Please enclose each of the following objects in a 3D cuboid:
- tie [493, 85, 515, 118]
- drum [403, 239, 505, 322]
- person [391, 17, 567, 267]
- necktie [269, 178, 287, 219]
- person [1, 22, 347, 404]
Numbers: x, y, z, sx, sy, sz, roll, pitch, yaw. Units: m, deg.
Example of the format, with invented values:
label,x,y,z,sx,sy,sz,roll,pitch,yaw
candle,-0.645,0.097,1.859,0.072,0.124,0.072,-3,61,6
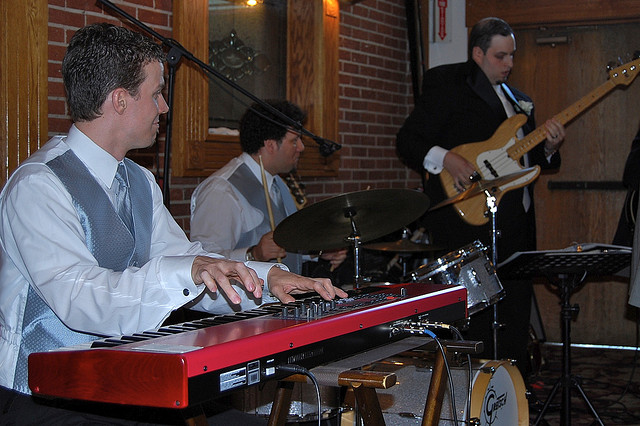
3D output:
label,x,y,z,sx,sy,sz,roll,pitch,yaw
tie,1.187,-0.730,4.015,0.046,0.207,0.138,-19,15,-26
drum,0.738,0.336,3.279,0.524,0.389,0.218,3,4,-11
person,0.986,-0.462,3.859,1.023,1.563,0.687,4,4,9
necktie,-0.228,-0.092,3.455,0.090,0.206,0.089,4,4,4
person,-0.561,-0.032,2.859,1.377,2.011,0.919,-3,-2,-2
